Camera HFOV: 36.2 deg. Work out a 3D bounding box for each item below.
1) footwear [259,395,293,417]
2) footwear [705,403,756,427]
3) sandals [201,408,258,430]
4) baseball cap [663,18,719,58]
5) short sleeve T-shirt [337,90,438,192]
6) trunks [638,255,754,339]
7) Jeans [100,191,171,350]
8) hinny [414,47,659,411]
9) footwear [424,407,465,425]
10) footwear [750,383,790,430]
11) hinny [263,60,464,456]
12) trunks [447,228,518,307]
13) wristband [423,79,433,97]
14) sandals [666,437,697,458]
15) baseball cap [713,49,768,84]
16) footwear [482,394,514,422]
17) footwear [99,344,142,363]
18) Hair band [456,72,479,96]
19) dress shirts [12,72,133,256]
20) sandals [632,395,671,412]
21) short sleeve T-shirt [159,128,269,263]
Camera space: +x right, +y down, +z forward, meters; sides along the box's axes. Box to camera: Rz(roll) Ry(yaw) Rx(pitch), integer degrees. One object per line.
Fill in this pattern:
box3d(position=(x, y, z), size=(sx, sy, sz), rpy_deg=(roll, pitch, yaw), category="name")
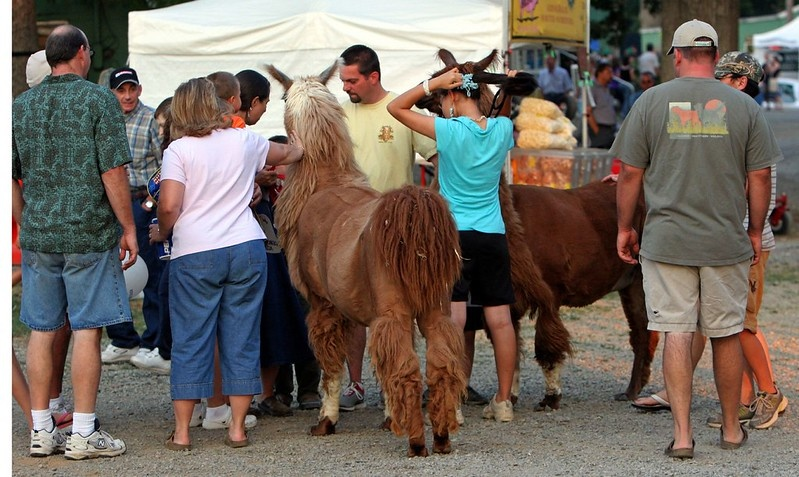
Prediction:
box3d(position=(-1.206, 1.567, 11.645), size=(0.367, 0.139, 0.150), rpy_deg=(6, 14, 29), category="footwear")
box3d(position=(3.002, 1.605, 11.184), size=(0.531, 0.208, 0.178), rpy_deg=(0, -2, -2), category="footwear")
box3d(position=(-1.579, 1.668, 11.399), size=(0.527, 0.199, 0.181), rpy_deg=(-4, 11, -6), category="sandals")
box3d(position=(2.666, -1.751, 10.844), size=(0.411, 0.258, 0.519), rpy_deg=(0, -4, 10), category="baseball cap")
box3d(position=(-0.133, -0.905, 11.411), size=(1.017, 0.754, 0.376), rpy_deg=(2, 21, 12), category="short sleeve T-shirt")
box3d(position=(2.650, 0.303, 10.898), size=(1.211, 0.806, 0.645), rpy_deg=(0, 2, 7), category="trunks")
box3d(position=(-2.796, 0.409, 13.048), size=(0.486, 1.761, 0.561), rpy_deg=(-2, -9, 3), category="Jeans")
box3d(position=(1.232, 0.099, 11.888), size=(1.132, 3.100, 4.056), rpy_deg=(-2, 0, 37), category="hinny")
box3d(position=(0.471, 1.599, 11.125), size=(0.280, 0.121, 0.359), rpy_deg=(0, 3, 5), category="footwear")
box3d(position=(3.373, 1.518, 11.242), size=(0.218, 0.268, 0.584), rpy_deg=(-6, 17, 42), category="footwear")
box3d(position=(-0.299, 0.239, 10.839), size=(1.019, 3.090, 1.930), rpy_deg=(-9, 16, -30), category="hinny")
box3d(position=(0.801, 0.243, 11.191), size=(0.714, 0.617, 0.401), rpy_deg=(3, -2, 41), category="trunks")
box3d(position=(0.241, -1.326, 10.984), size=(0.052, 0.097, 0.115), rpy_deg=(-8, -26, 0), category="wristband")
box3d(position=(2.448, 1.797, 10.611), size=(0.279, 0.141, 0.187), rpy_deg=(-1, 13, 1), category="sandals")
box3d(position=(3.134, -1.532, 11.241), size=(0.471, 0.239, 0.341), rpy_deg=(10, -4, 20), category="baseball cap")
box3d(position=(0.926, 1.578, 11.349), size=(0.163, 0.148, 0.300), rpy_deg=(-1, 5, -15), category="footwear")
box3d(position=(-2.995, 1.227, 13.028), size=(0.447, 0.180, 0.151), rpy_deg=(2, 4, -15), category="footwear")
box3d(position=(0.604, -1.368, 10.866), size=(0.221, 0.195, 0.069), rpy_deg=(2, 4, 4), category="Hair band")
box3d(position=(-2.903, -0.656, 10.729), size=(1.037, 1.513, 0.504), rpy_deg=(-3, 13, -7), category="dress shirts")
box3d(position=(2.390, 1.548, 11.599), size=(0.371, 0.089, 0.138), rpy_deg=(1, 3, -1), category="sandals")
box3d(position=(-1.734, -0.456, 11.039), size=(1.256, 1.113, 0.653), rpy_deg=(-14, 18, -38), category="short sleeve T-shirt")
